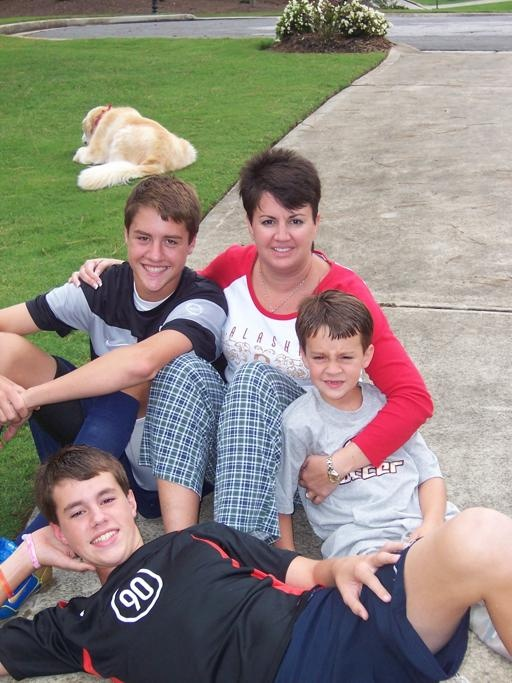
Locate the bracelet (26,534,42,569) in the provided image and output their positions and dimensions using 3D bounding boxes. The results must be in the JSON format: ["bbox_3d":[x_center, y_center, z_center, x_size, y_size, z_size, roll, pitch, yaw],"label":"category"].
[{"bbox_3d":[-0.677,0.647,1.988,0.023,0.062,0.079,-22,48,-6],"label":"bracelet"}]

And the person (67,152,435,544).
[{"bbox_3d":[-0.026,0.045,2.402,1.044,1.329,1.046,-6,14,-37],"label":"person"}]

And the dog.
[{"bbox_3d":[-1.319,-2.162,7.057,1.293,0.533,1.720,-6,31,-10],"label":"dog"}]
